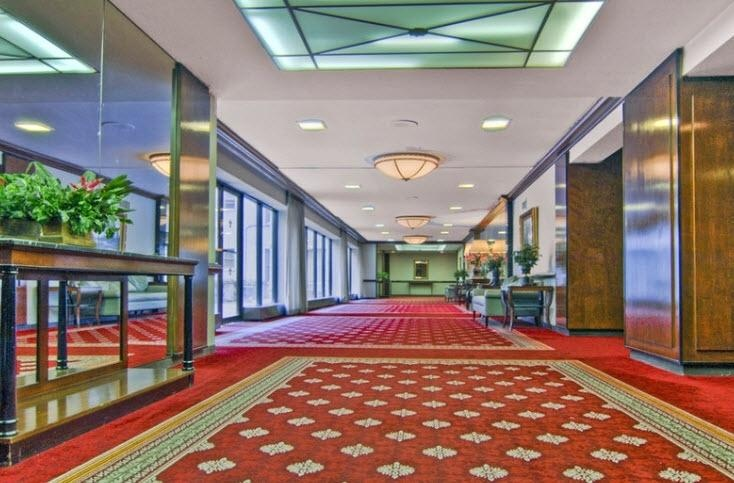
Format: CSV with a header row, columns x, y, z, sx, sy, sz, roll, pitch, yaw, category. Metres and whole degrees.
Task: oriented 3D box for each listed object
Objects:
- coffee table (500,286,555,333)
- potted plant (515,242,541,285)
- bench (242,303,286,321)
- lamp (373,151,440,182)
x,y,z,sx,sy,sz,roll,pitch,yaw,category
2.949,1.284,8.862,0.889,0.687,0.843,1,-3,-3,coffee table
3.072,0.527,9.247,0.526,0.737,0.571,2,-11,1,potted plant
-2.371,1.697,10.914,0.334,0.290,1.930,-1,-5,12,bench
0.638,-1.453,8.963,0.725,0.235,0.692,1,0,-40,lamp
